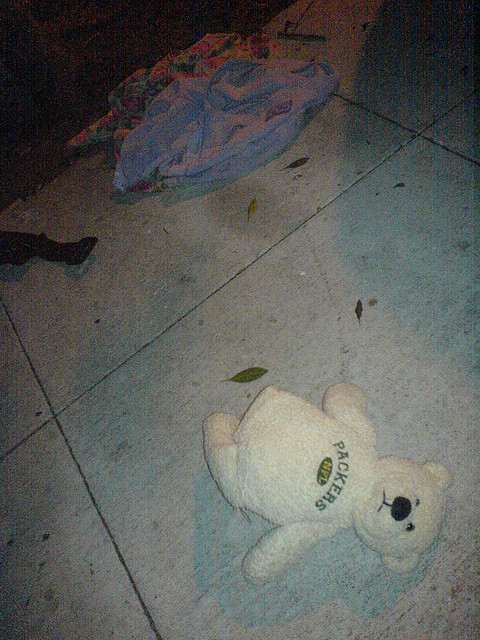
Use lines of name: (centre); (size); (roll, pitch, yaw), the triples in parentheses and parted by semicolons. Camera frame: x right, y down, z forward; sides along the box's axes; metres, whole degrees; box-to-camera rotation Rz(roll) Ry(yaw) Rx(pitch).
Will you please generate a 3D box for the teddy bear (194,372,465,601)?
teddy bear: (0.368, 0.620, 3.395); (1.120, 0.658, 0.748); (-7, 47, 7)
